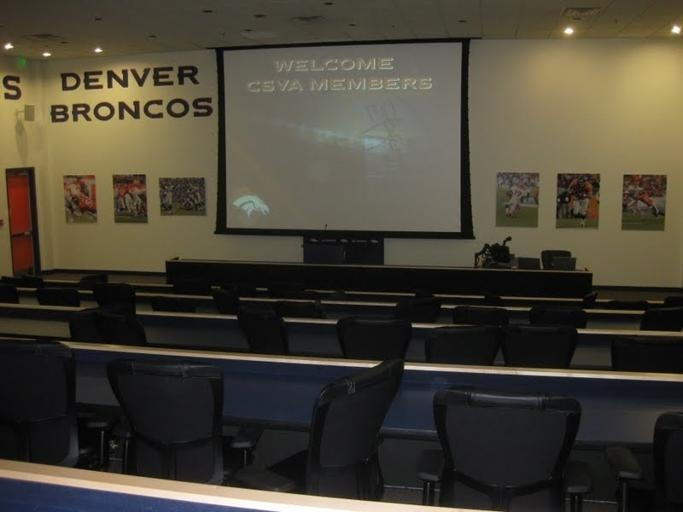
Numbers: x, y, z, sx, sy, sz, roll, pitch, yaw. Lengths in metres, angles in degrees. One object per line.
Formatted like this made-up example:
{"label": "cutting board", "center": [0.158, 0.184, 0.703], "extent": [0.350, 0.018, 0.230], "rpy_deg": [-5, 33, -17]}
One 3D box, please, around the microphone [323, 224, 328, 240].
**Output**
{"label": "microphone", "center": [-0.308, -0.490, 11.354], "extent": [0.081, 0.245, 0.217], "rpy_deg": [-1, 8, 0]}
